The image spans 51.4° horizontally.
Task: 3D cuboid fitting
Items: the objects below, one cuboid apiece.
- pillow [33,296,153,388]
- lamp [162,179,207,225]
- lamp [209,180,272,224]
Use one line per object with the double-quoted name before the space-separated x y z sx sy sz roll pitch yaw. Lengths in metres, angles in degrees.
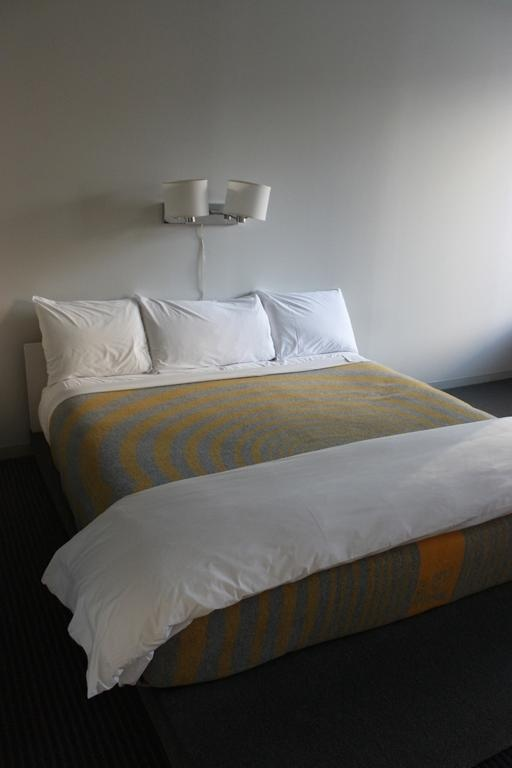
"pillow" -0.860 -0.208 2.778 0.443 0.417 0.203 -4 -5 -23
"lamp" -0.391 -1.001 2.978 0.243 0.185 0.248 -3 18 1
"lamp" -0.122 -1.067 3.143 0.310 0.216 0.338 -5 14 -15
